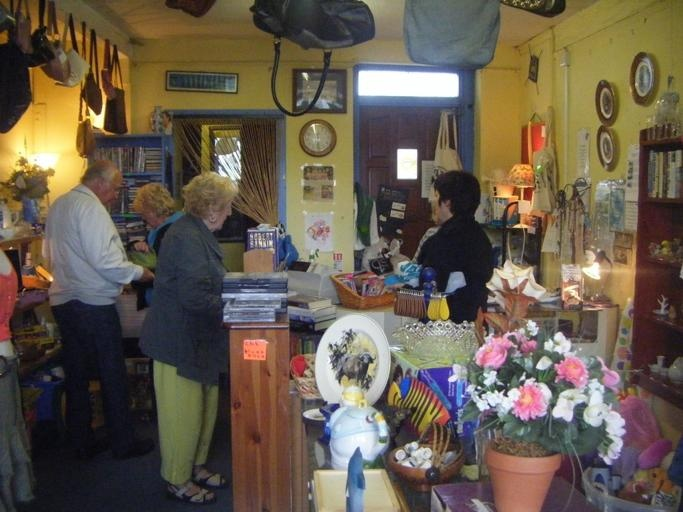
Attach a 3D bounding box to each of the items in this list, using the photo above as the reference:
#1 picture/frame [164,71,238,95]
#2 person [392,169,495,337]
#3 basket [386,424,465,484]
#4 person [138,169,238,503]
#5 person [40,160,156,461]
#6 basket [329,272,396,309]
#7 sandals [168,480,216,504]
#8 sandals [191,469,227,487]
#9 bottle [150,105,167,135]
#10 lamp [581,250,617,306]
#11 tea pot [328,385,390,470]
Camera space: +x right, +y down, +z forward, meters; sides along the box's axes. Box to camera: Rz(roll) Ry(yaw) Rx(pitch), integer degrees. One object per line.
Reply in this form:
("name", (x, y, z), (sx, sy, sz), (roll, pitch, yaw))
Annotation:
("picture/frame", (-1.489, -1.882, 6.262), (0.776, 0.227, 0.035), (-1, 8, -2))
("person", (0.683, -0.064, 3.451), (0.433, 0.880, 0.415), (1, 9, 11))
("basket", (0.323, 0.752, 2.191), (0.201, 0.154, 0.191), (-1, 1, -4))
("person", (-0.885, 0.481, 3.437), (0.583, 1.933, 0.394), (-2, 9, -11))
("person", (-1.749, 0.484, 4.137), (0.646, 1.974, 0.279), (1, 9, 12))
("basket", (0.182, 0.261, 4.393), (0.276, 0.168, 0.350), (6, 6, 44))
("sandals", (-0.947, 1.498, 3.698), (0.256, 0.111, 0.137), (1, 4, 3))
("sandals", (-0.872, 1.470, 3.882), (0.223, 0.097, 0.101), (2, 5, 1))
("bottle", (-1.942, -1.466, 6.187), (0.140, 0.287, 0.266), (-3, 9, -18))
("lamp", (2.209, 0.154, 5.026), (0.237, 0.441, 0.475), (3, 10, 23))
("tea pot", (0.055, 0.620, 2.173), (0.201, 0.268, 0.273), (-1, 2, -24))
